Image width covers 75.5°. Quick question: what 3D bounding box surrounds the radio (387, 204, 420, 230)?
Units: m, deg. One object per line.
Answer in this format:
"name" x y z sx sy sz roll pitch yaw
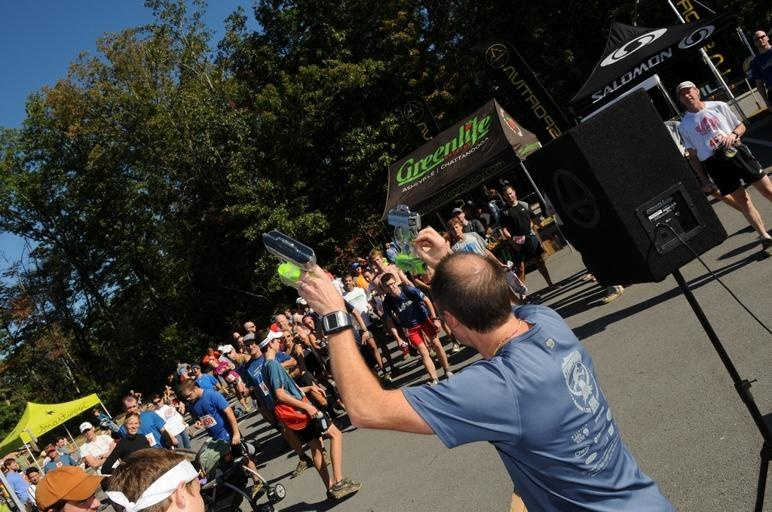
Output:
"radio" 0.181 -0.390 4.857 0.304 0.201 0.169 10 19 34

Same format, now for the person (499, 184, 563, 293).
"person" 3.165 -0.361 11.404 0.781 2.577 0.728 -16 -3 3

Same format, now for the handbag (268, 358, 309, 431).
"handbag" -1.513 2.155 8.300 0.573 1.293 1.144 0 0 -1

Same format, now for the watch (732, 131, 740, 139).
"watch" 5.887 -2.063 8.400 0.110 0.072 0.104 -48 -35 -10

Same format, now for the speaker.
"speaker" 2.379 -0.663 5.567 1.526 2.364 2.595 2 0 -19

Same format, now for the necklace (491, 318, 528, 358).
"necklace" 0.974 0.600 3.901 0.287 0.072 0.222 -43 8 -24
